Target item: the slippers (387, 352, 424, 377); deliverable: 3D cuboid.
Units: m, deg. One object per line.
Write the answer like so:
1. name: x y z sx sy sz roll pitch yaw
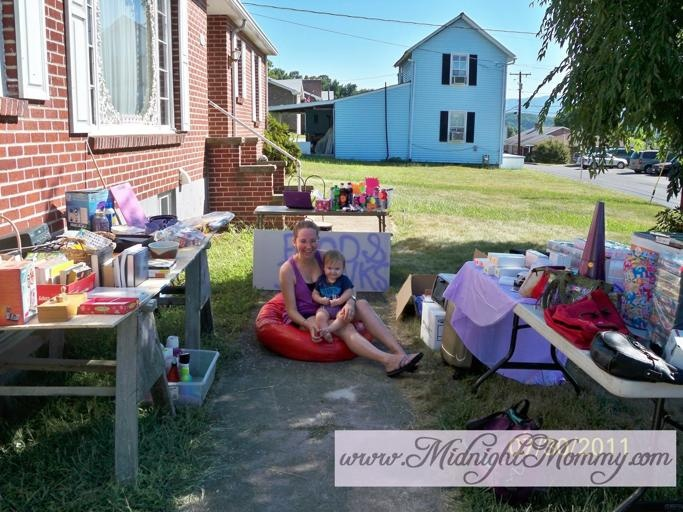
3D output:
1. slippers: 0.640 1.061 5.154 0.382 0.133 0.170 -26 -3 24

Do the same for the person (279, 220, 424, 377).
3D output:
1. person: 0.049 0.391 5.499 0.779 1.410 1.856 -10 18 -42

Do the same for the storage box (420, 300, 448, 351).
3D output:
1. storage box: 1.031 0.784 5.808 0.144 0.448 0.489 1 8 -4

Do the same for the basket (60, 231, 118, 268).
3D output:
1. basket: -1.854 -0.076 3.761 0.285 0.095 0.305 22 22 5

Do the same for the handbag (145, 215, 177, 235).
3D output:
1. handbag: -1.824 -0.327 5.265 0.213 0.109 0.278 1 17 -3

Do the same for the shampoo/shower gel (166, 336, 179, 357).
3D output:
1. shampoo/shower gel: -1.514 0.815 4.694 0.099 0.198 0.120 11 10 20

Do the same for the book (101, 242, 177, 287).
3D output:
1. book: -1.525 0.073 3.806 0.365 0.140 0.279 3 18 16

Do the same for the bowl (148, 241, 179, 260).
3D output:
1. bowl: -1.496 -0.050 4.384 0.155 0.087 0.165 -4 3 0

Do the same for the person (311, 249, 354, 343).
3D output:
1. person: -0.088 0.395 5.601 0.385 0.849 0.736 -1 7 -6

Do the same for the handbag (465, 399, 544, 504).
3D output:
1. handbag: 1.120 1.343 3.767 0.441 0.717 0.631 5 -1 -20

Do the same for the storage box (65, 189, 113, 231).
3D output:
1. storage box: -2.359 -0.461 4.881 0.289 0.443 0.573 2 11 -1

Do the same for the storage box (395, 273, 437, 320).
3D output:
1. storage box: 0.979 0.481 6.913 0.461 0.669 0.490 4 10 7
